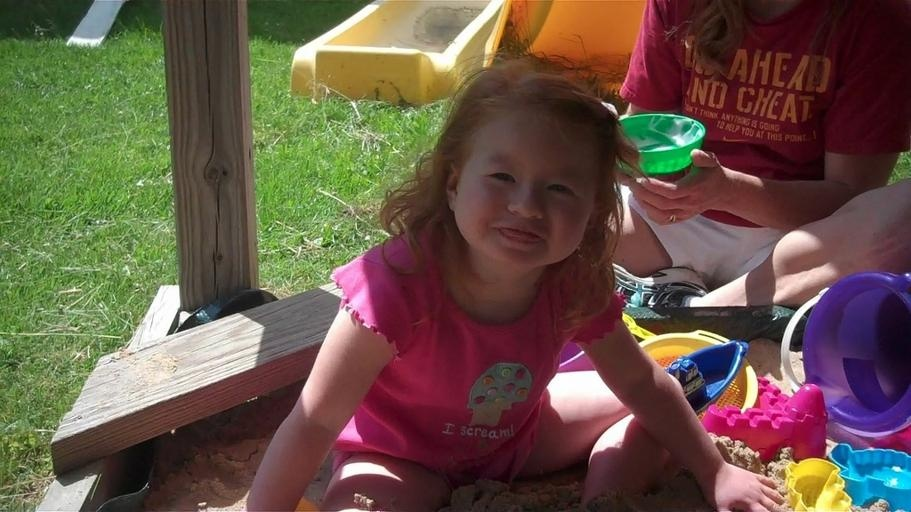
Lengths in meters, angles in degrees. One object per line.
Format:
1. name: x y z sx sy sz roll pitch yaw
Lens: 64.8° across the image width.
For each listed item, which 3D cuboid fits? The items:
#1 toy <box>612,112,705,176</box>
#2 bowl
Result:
1. toy: 0.912 -0.524 3.229 0.319 0.141 0.373 -35 43 -29
2. bowl: 0.915 -0.521 3.227 0.319 0.141 0.372 -35 43 -29
